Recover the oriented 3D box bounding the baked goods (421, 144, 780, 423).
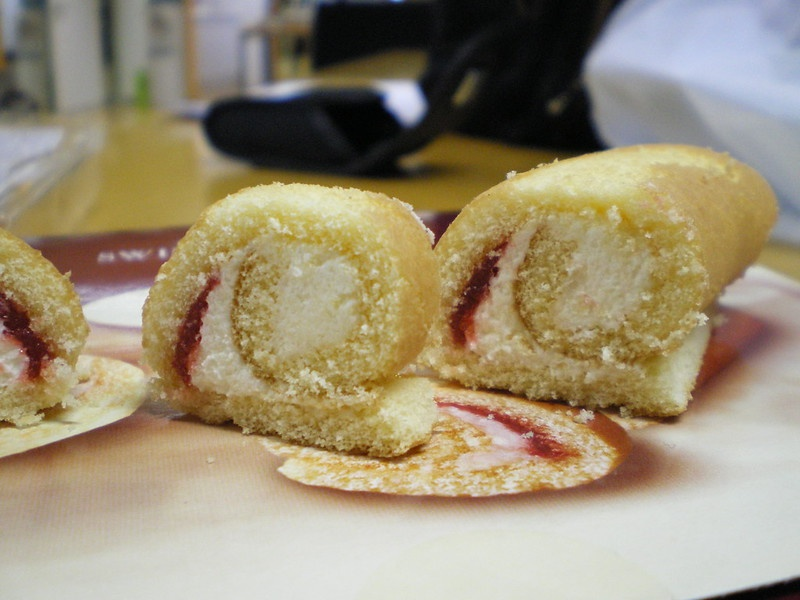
[{"bbox_3d":[0.247,-0.027,1.116,0.364,0.251,0.505,9,17,41],"label":"baked goods"}]
